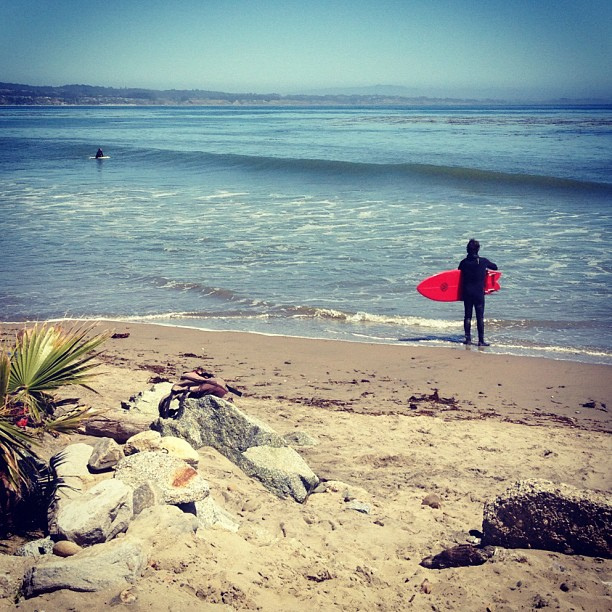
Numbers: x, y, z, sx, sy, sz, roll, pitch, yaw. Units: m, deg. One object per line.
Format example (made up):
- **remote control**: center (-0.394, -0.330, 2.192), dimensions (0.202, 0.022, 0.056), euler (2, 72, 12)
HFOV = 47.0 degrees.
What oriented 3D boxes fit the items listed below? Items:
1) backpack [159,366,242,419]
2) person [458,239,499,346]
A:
- **backpack**: center (-1.141, 0.926, 7.234), dimensions (0.673, 0.388, 0.509), euler (-2, 7, -38)
- **person**: center (2.719, -0.210, 11.205), dimensions (0.600, 1.706, 0.432), euler (4, 7, 9)
